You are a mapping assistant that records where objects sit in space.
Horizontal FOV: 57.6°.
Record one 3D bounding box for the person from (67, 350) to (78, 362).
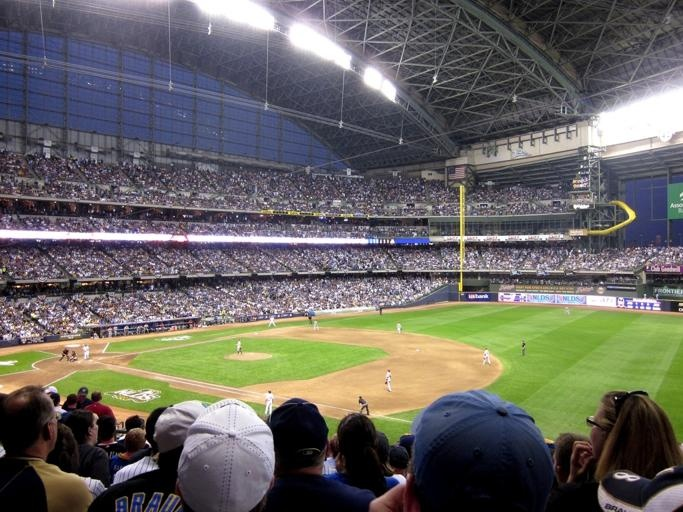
[{"bbox_3d":[-24.397,9.076,56.077,0.791,0.770,1.523,1,-7,-14],"label":"person"}]
